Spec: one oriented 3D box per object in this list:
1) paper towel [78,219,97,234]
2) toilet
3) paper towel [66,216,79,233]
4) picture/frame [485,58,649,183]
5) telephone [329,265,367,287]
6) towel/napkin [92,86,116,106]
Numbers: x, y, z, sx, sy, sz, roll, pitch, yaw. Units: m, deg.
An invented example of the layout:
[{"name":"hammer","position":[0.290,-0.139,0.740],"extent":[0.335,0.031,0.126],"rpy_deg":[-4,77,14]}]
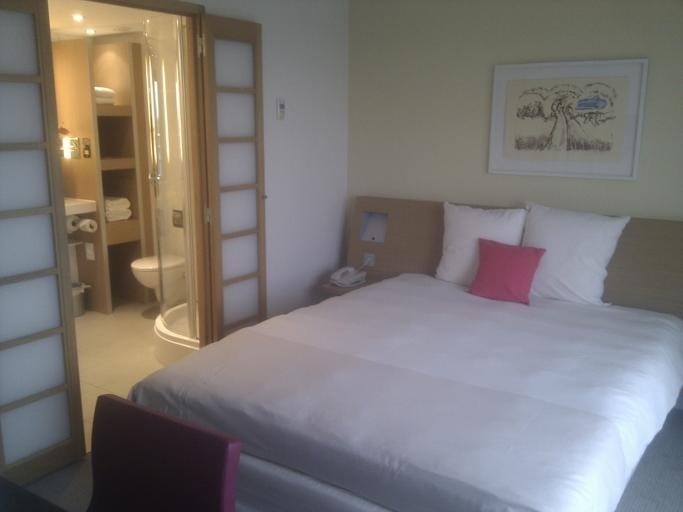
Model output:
[{"name":"paper towel","position":[-2.411,-0.293,4.935],"extent":[0.123,0.139,0.154],"rpy_deg":[-3,7,-39]},{"name":"toilet","position":[-1.573,-0.001,4.337],"extent":[0.403,0.825,0.345],"rpy_deg":[0,12,18]},{"name":"paper towel","position":[-2.561,-0.309,4.903],"extent":[0.118,0.158,0.095],"rpy_deg":[8,14,23]},{"name":"picture/frame","position":[1.666,-0.991,3.726],"extent":[0.911,0.719,0.044],"rpy_deg":[8,13,29]},{"name":"telephone","position":[0.066,0.173,4.306],"extent":[0.171,0.081,0.220],"rpy_deg":[7,11,44]},{"name":"towel/napkin","position":[-2.278,-1.539,4.991],"extent":[0.201,0.105,0.213],"rpy_deg":[-5,22,-20]}]
